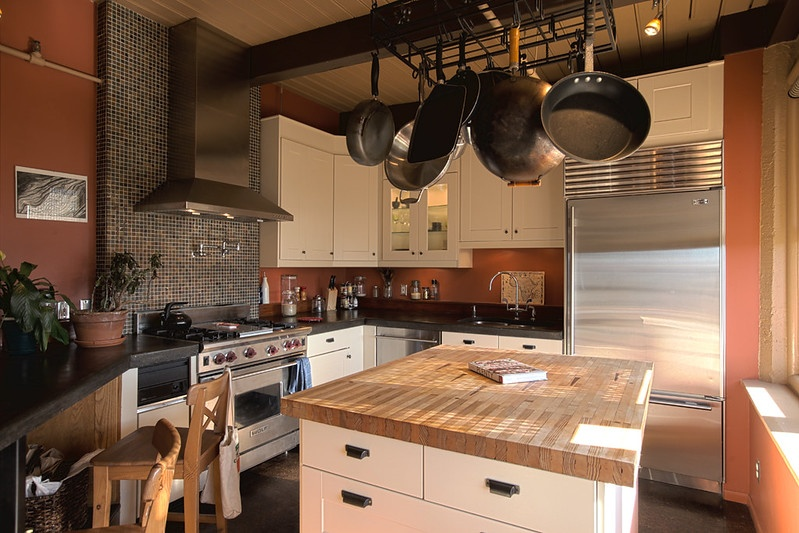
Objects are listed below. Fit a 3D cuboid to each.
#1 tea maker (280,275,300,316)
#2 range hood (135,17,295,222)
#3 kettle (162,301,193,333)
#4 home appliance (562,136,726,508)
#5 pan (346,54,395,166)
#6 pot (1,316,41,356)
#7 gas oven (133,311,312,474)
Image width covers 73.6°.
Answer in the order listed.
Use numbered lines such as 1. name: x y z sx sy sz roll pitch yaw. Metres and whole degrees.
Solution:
1. tea maker: -1.126 0.297 5.573 0.180 0.377 0.436 -2 9 -11
2. range hood: -1.592 -1.273 4.531 0.879 1.815 1.444 -4 -7 32
3. kettle: -1.802 0.414 4.333 0.255 0.257 0.190 -9 -8 42
4. home appliance: 2.345 0.413 4.933 1.419 3.028 0.871 0 -1 29
5. pan: -0.183 -0.870 3.070 0.087 0.612 0.329 7 14 43
6. pot: -2.515 0.457 3.555 0.204 0.270 0.188 0 9 0
7. gas oven: -1.406 1.046 4.607 0.773 1.216 1.056 3 4 33
